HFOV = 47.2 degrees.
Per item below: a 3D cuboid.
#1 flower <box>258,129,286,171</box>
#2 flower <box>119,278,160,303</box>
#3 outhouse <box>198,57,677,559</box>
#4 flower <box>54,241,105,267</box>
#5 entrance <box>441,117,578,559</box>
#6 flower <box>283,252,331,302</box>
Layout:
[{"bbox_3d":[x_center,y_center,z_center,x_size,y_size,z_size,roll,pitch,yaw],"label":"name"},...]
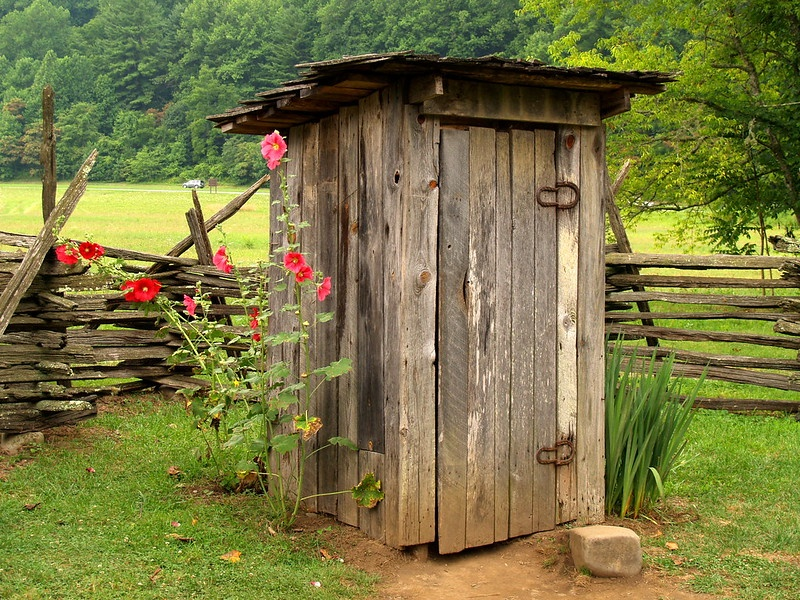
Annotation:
[{"bbox_3d":[-1.079,-1.287,7.794,0.317,0.295,0.155,-6,-7,3],"label":"flower"},{"bbox_3d":[-2.256,-0.094,7.926,0.304,0.197,0.141,1,5,-5],"label":"flower"},{"bbox_3d":[0.999,0.075,9.692,4.369,4.552,4.154,-1,1,-28],"label":"outhouse"},{"bbox_3d":[-2.818,-0.406,8.141,0.309,0.117,0.298,5,3,15],"label":"flower"},{"bbox_3d":[0.834,0.322,7.633,1.129,3.478,0.274,-1,5,-20],"label":"entrance"},{"bbox_3d":[-0.742,-0.188,7.662,0.348,0.432,0.479,2,5,9],"label":"flower"}]
